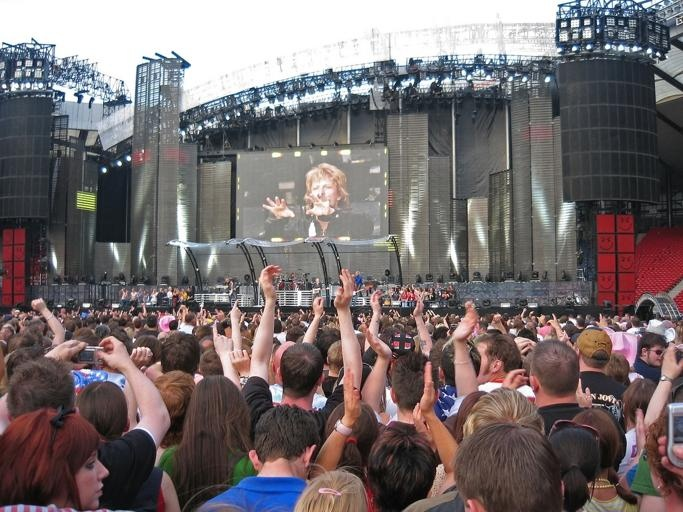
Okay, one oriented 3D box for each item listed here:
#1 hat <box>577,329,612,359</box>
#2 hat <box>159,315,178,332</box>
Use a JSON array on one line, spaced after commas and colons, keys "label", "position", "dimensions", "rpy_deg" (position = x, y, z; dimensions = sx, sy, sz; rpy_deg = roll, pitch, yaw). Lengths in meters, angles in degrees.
[{"label": "hat", "position": [2.733, 0.948, 8.529], "dimensions": [0.235, 0.201, 0.362], "rpy_deg": [2, 15, 15]}, {"label": "hat", "position": [-3.017, 1.175, 13.686], "dimensions": [0.345, 0.216, 0.367], "rpy_deg": [0, 4, -4]}]
